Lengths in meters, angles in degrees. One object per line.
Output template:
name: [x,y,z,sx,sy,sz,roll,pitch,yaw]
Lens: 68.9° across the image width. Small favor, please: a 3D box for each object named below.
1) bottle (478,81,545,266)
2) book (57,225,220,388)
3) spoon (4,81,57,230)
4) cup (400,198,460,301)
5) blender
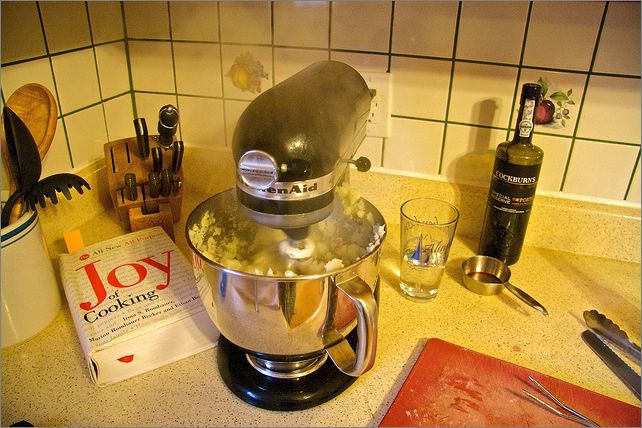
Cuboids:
bottle: [0.448,-0.082,1.076,0.110,0.420,0.093,21,32,30]
book: [-0.398,0.161,1.045,0.357,0.080,0.353,-7,44,-14]
spoon: [-0.649,-0.093,1.028,0.078,0.369,0.049,3,6,-17]
cup: [0.235,0.074,1.086,0.125,0.191,0.169,10,28,11]
blender: [-0.054,0.028,0.919,0.378,0.553,0.403,8,28,7]
